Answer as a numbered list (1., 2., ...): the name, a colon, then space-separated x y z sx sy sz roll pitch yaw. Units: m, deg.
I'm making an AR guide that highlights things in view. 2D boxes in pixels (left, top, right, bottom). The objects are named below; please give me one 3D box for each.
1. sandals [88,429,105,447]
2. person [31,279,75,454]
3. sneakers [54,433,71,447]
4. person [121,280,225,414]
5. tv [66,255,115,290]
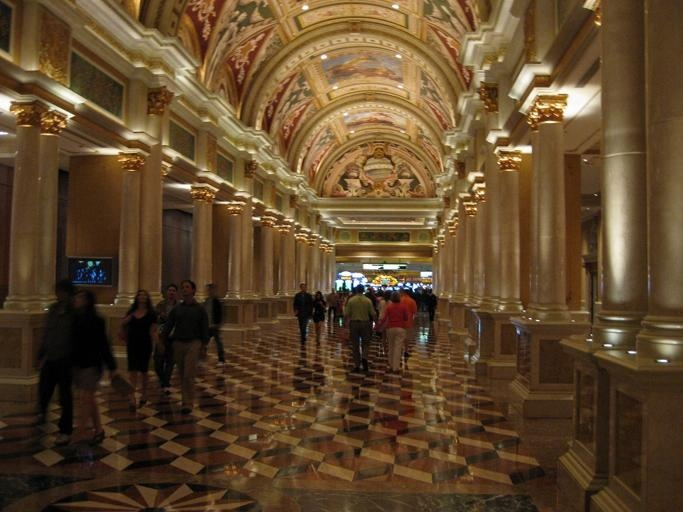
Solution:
1. sandals: -2.855 2.083 6.077 0.162 0.139 0.319 1 -2 -24
2. person: -3.299 1.201 6.014 0.364 1.850 0.365 1 -3 -26
3. sneakers: -3.235 2.133 6.055 0.100 0.113 0.170 1 -25 -3
4. person: -2.218 1.256 7.422 0.678 1.810 0.365 -1 -3 33
5. tv: -5.211 0.333 10.889 0.830 0.448 0.081 1 -3 5
